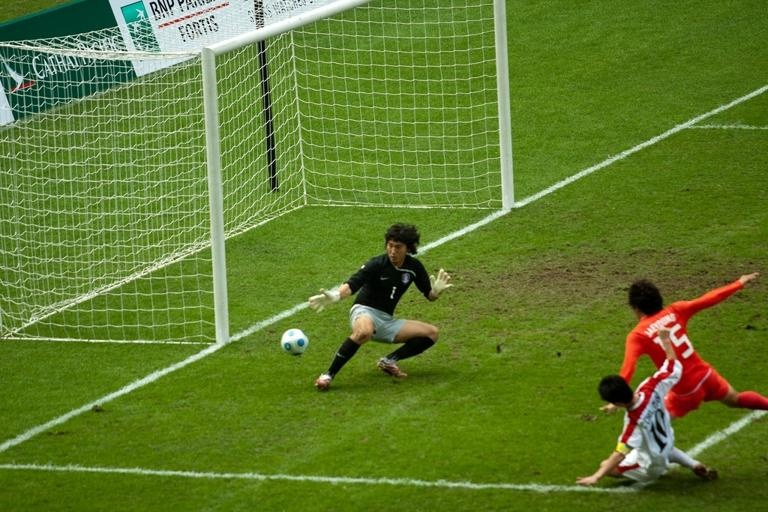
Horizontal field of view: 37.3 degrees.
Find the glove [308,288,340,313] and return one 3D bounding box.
[{"bbox_3d":[-0.679,0.512,13.207,0.351,0.223,0.311,-10,4,-2],"label":"glove"}]

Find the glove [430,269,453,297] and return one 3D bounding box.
[{"bbox_3d":[0.704,0.352,13.971,0.125,0.226,0.356,23,-34,-26],"label":"glove"}]

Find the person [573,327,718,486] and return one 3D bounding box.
[{"bbox_3d":[2.597,1.599,11.647,1.251,1.208,0.387,-12,5,-2],"label":"person"}]

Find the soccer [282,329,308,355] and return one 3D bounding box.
[{"bbox_3d":[-1.064,1.034,13.467,0.236,0.238,0.216,-39,32,18],"label":"soccer"}]

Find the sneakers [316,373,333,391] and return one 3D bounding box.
[{"bbox_3d":[-0.705,1.487,13.287,0.212,0.086,0.210,-7,-2,-11],"label":"sneakers"}]

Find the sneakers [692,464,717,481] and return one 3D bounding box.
[{"bbox_3d":[3.320,2.237,11.711,0.267,0.135,0.092,14,11,0],"label":"sneakers"}]
